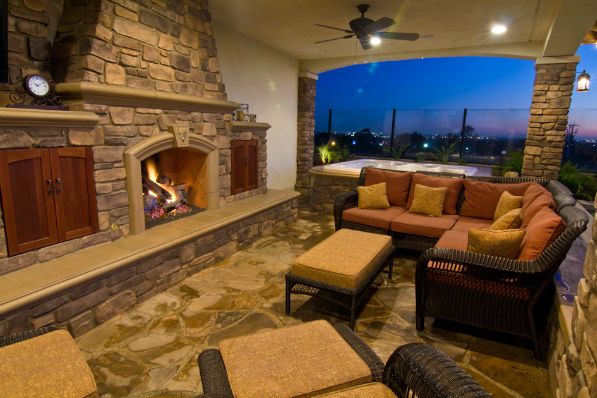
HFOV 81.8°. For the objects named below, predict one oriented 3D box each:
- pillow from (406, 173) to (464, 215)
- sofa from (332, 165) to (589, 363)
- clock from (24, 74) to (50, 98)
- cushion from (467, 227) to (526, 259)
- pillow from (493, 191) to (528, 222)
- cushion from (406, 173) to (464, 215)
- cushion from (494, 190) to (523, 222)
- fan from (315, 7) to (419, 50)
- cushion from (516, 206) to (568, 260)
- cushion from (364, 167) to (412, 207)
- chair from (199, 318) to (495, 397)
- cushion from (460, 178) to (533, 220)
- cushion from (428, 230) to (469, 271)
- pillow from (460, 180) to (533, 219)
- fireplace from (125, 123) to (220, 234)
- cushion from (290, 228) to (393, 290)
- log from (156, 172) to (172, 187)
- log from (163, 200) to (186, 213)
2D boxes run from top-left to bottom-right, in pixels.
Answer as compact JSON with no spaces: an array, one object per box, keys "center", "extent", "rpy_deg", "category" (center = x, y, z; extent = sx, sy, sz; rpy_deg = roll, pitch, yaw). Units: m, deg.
[{"center":[2.171,-0.066,5.576],"extent":[0.424,0.648,0.893],"rpy_deg":[-20,18,-28],"category":"pillow"},{"center":[2.298,0.497,4.310],"extent":[2.562,0.991,2.561],"rpy_deg":[6,11,37],"category":"sofa"},{"center":[-2.904,-1.245,3.811],"extent":[0.067,0.254,0.281],"rpy_deg":[-9,-17,23],"category":"clock"},{"center":[1.970,0.449,3.426],"extent":[0.321,0.247,0.138],"rpy_deg":[4,-9,12],"category":"cushion"},{"center":[2.683,0.094,4.341],"extent":[0.214,0.350,0.434],"rpy_deg":[4,5,5],"category":"pillow"},{"center":[2.083,-0.015,5.443],"extent":[0.801,0.541,0.363],"rpy_deg":[1,0,33],"category":"cushion"},{"center":[2.678,0.089,4.379],"extent":[0.191,0.317,0.423],"rpy_deg":[8,7,10],"category":"cushion"},{"center":[1.360,-2.715,5.724],"extent":[1.006,0.263,0.941],"rpy_deg":[-5,11,-24],"category":"fan"},{"center":[2.270,0.362,3.276],"extent":[0.154,0.470,0.518],"rpy_deg":[30,13,12],"category":"cushion"},{"center":[1.521,-0.155,5.973],"extent":[0.398,0.690,1.065],"rpy_deg":[8,8,-26],"category":"cushion"},{"center":[0.197,1.125,2.423],"extent":[1.819,0.354,0.685],"rpy_deg":[2,13,10],"category":"chair"},{"center":[2.871,0.019,5.186],"extent":[0.947,0.535,0.306],"rpy_deg":[8,13,-7],"category":"cushion"},{"center":[1.861,0.540,4.282],"extent":[0.419,0.270,0.650],"rpy_deg":[4,15,31],"category":"cushion"},{"center":[2.901,0.009,5.123],"extent":[0.913,0.533,0.292],"rpy_deg":[5,24,4],"category":"pillow"},{"center":[-1.805,-0.279,4.917],"extent":[0.824,1.279,1.494],"rpy_deg":[9,16,27],"category":"fireplace"},{"center":[0.577,0.638,4.133],"extent":[0.810,0.195,1.335],"rpy_deg":[9,18,25],"category":"cushion"},{"center":[-2.105,-0.311,5.386],"extent":[0.262,0.209,0.175],"rpy_deg":[9,-27,-26],"category":"log"},{"center":[-1.870,0.099,5.183],"extent":[0.098,0.156,0.384],"rpy_deg":[6,14,21],"category":"log"}]
